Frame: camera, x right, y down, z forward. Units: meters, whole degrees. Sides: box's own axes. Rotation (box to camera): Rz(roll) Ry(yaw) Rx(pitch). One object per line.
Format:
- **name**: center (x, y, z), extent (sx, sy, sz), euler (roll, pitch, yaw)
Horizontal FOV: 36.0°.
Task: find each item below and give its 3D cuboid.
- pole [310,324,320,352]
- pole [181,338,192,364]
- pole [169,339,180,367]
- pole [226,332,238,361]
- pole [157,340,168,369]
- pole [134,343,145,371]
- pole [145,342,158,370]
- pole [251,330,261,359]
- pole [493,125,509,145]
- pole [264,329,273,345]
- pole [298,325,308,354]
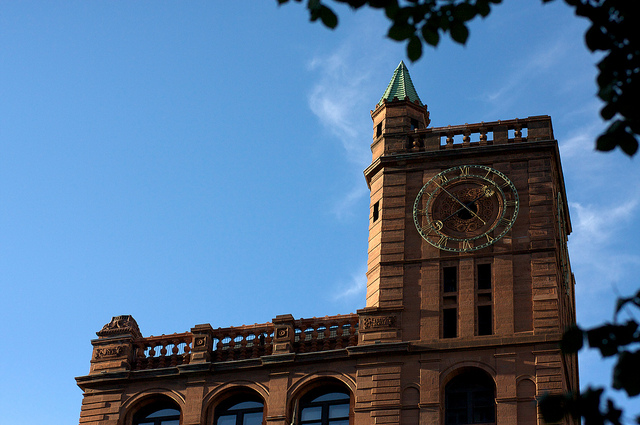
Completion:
- **pole**: center (-0.229, 5.352, 42.097), extent (0.448, 1.370, 0.319), euler (0, -31, -6)
- **pole**: center (-5.872, 6.042, 43.158), extent (0.435, 1.390, 0.510), euler (4, -32, -14)
- **pole**: center (-6.425, 6.159, 43.267), extent (0.420, 1.485, 0.601), euler (0, -31, -6)
- **pole**: center (-3.860, 5.831, 42.860), extent (0.482, 1.402, 0.362), euler (0, -31, -6)
- **pole**: center (-6.976, 6.255, 43.485), extent (0.416, 1.477, 0.438), euler (1, -31, -9)
- **pole**: center (-8.049, 6.385, 43.927), extent (0.323, 1.274, 0.256), euler (-6, -31, 3)
- **pole**: center (-7.508, 6.311, 43.635), extent (0.525, 1.389, 0.409), euler (0, -31, -7)
- **pole**: center (-2.777, 5.670, 42.746), extent (0.432, 1.293, 0.180), euler (-21, -35, 27)
- **pole**: center (8.208, -3.499, 44.700), extent (0.768, 1.170, 0.363), euler (-10, -31, 10)
- **pole**: center (-2.263, 5.384, 42.674), extent (0.273, 0.759, 0.378), euler (16, -36, -30)
- **pole**: center (-0.770, 5.420, 42.168), extent (0.476, 1.385, 0.431), euler (-10, -31, 10)
